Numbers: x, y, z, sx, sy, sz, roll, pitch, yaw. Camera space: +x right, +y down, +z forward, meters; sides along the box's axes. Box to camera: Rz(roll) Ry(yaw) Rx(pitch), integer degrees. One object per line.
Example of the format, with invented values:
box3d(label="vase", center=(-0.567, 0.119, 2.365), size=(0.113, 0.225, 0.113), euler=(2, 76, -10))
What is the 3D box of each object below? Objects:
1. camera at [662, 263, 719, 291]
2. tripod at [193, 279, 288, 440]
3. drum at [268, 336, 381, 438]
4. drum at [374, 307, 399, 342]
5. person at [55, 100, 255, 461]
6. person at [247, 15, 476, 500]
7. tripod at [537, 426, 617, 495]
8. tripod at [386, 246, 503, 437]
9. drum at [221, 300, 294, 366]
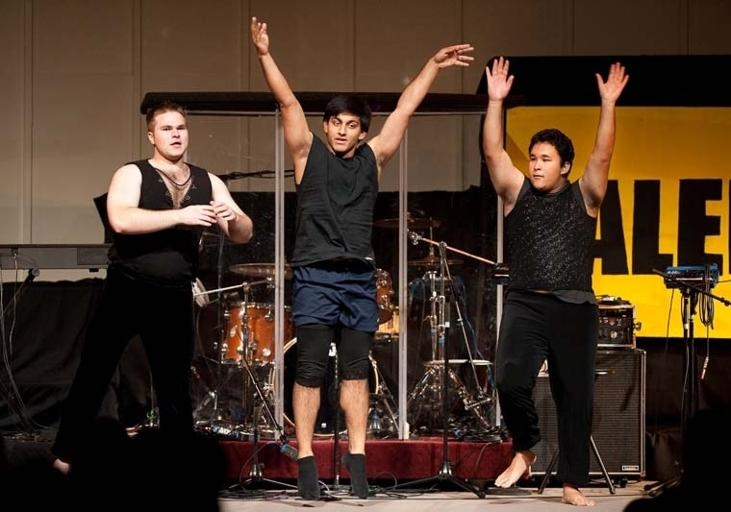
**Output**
box3d(label="camera", center=(2.652, 0.172, 9.755), size=(0.409, 0.196, 0.402), euler=(0, 0, 17))
box3d(label="tripod", center=(-0.974, 1.102, 10.029), size=(0.700, 1.797, 0.763), euler=(-4, -10, 12))
box3d(label="drum", center=(-0.275, 1.025, 9.788), size=(0.911, 0.894, 0.899), euler=(2, -33, -7))
box3d(label="drum", center=(0.201, 0.598, 10.139), size=(0.260, 0.446, 0.249), euler=(0, -1, 0))
box3d(label="person", center=(-1.541, 0.249, 8.737), size=(1.355, 2.721, 0.519), euler=(0, -1, -12))
box3d(label="person", center=(-0.192, 0.026, 8.877), size=(1.291, 3.564, 0.441), euler=(0, -1, -5))
box3d(label="tripod", center=(1.591, 1.692, 9.595), size=(0.489, 0.588, 0.499), euler=(-7, -17, 5))
box3d(label="tripod", center=(0.749, 0.756, 10.619), size=(1.434, 1.621, 1.391), euler=(0, -1, 15))
box3d(label="drum", center=(-0.880, 0.668, 9.966), size=(0.528, 0.457, 0.506), euler=(2, -5, -8))
